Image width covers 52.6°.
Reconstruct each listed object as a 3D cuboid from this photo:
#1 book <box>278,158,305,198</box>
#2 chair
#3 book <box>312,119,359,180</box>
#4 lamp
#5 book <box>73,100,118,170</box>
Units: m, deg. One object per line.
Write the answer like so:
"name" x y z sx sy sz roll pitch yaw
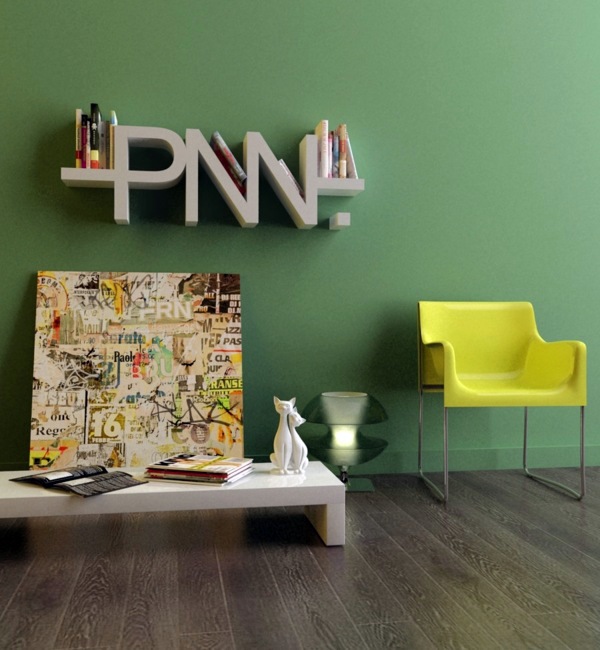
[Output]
"book" -0.041 -0.680 2.776 0.108 0.205 0.199 0 1 0
"chair" 0.857 0.301 2.677 0.624 0.853 0.594 0 -1 6
"book" 0.165 -0.818 2.834 0.188 0.311 0.167 0 1 -4
"lamp" 0.200 0.500 2.642 0.359 0.402 0.372 0 1 -20
"book" -0.880 -0.797 2.600 0.158 0.285 0.100 0 1 -17
